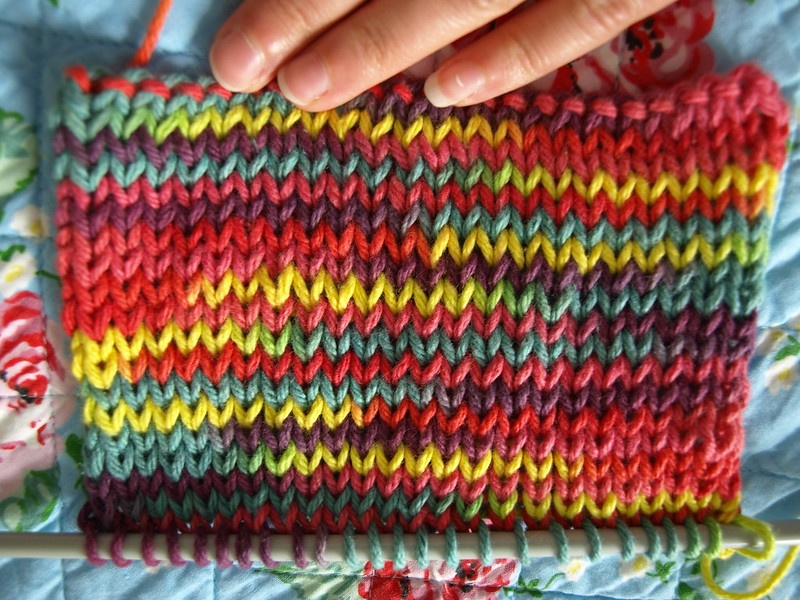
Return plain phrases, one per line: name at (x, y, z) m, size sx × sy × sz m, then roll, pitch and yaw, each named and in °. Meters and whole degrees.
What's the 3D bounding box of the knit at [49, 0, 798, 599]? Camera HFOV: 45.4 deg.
knit at (0.029, -0.039, 1.512) m, size 0.791 × 0.042 × 0.760 m, roll 0°, pitch 89°, yaw -2°
